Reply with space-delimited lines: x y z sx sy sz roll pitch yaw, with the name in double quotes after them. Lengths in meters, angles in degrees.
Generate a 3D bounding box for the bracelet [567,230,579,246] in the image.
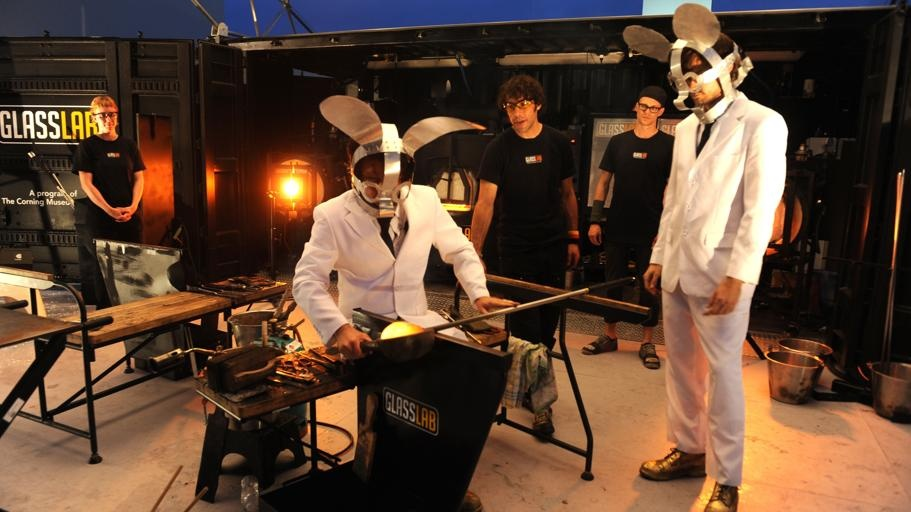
1.434 -0.229 7.362 0.182 0.145 0.168 0 5 12 "bracelet"

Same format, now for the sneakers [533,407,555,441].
0.959 1.861 6.673 0.182 0.165 0.427 -2 -6 4 "sneakers"

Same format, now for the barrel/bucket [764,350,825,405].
4.077 1.460 7.518 0.734 0.438 0.643 3 7 13 "barrel/bucket"

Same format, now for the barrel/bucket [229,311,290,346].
-2.175 0.755 6.597 0.477 0.309 0.460 0 4 0 "barrel/bucket"

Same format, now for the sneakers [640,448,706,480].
2.215 2.150 6.239 0.728 0.269 0.282 1 1 -3 "sneakers"

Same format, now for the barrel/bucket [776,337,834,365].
4.474 1.178 7.829 0.477 0.172 0.459 1 8 0 "barrel/bucket"

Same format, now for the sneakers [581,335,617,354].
2.020 1.238 8.463 0.580 0.192 0.202 -1 2 -27 "sneakers"
